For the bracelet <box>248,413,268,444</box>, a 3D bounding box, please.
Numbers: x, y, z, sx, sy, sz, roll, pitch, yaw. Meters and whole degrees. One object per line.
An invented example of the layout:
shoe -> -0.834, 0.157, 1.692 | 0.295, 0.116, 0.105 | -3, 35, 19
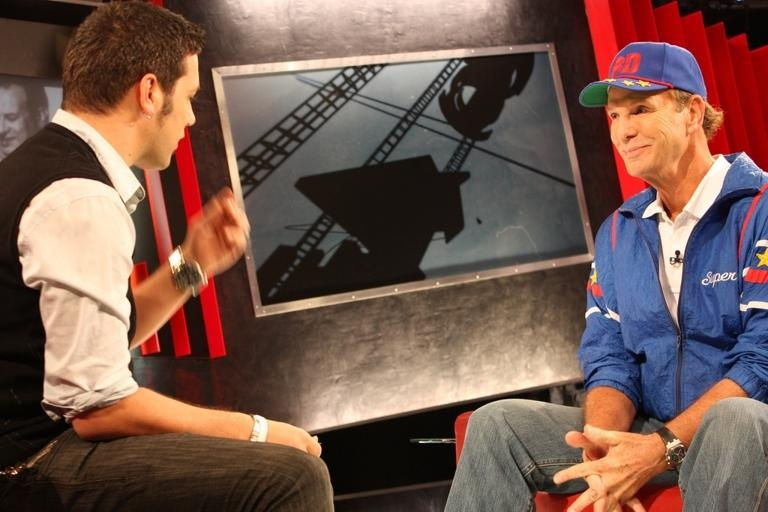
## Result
bracelet -> -0.398, 0.557, 2.202 | 0.053, 0.080, 0.073 | 5, -10, -9

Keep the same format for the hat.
hat -> 0.986, -0.698, 2.634 | 0.457, 0.205, 0.324 | 0, 1, -39

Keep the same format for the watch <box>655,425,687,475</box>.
watch -> 0.932, 0.633, 2.217 | 0.059, 0.101, 0.090 | -15, -1, 4

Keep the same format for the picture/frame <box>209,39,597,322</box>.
picture/frame -> 0.015, -0.366, 3.561 | 1.452, 0.987, 0.032 | -10, -4, -18
